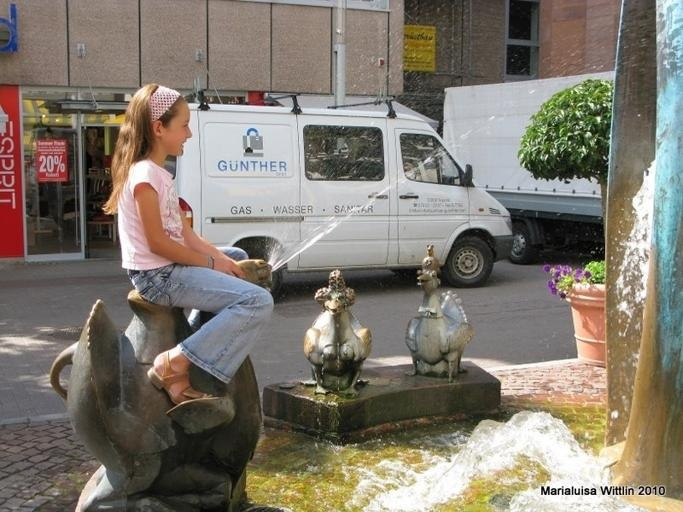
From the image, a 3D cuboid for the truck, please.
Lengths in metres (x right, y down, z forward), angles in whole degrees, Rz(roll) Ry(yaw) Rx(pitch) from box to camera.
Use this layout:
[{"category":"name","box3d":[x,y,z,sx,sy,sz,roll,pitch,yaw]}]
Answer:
[{"category":"truck","box3d":[3.011,-1.315,13.870,3.457,3.319,2.129,0,9,32]}]

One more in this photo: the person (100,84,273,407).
[{"category":"person","box3d":[-0.975,-0.030,5.034,1.042,1.872,0.671,0,2,-21]}]

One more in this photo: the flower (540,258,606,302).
[{"category":"flower","box3d":[2.522,0.261,9.256,0.641,0.335,0.667,3,14,33]}]
